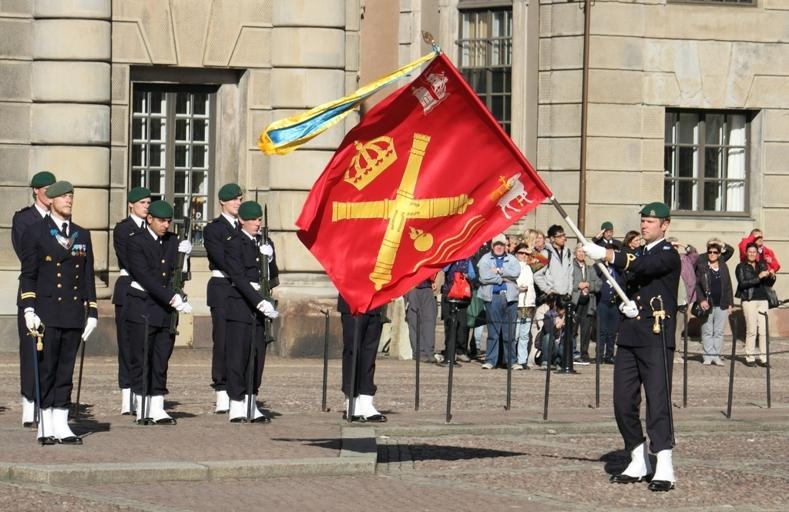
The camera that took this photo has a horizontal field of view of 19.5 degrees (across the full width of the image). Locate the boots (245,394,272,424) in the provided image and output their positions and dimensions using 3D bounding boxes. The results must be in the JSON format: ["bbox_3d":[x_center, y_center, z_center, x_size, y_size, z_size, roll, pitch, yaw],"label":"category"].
[{"bbox_3d":[-2.276,2.402,36.601,0.597,0.488,0.271,0,0,-13],"label":"boots"}]

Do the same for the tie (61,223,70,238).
[{"bbox_3d":[-4.995,-0.489,35.037,0.132,0.197,0.051,-1,-19,-18],"label":"tie"}]

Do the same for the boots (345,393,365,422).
[{"bbox_3d":[-0.637,2.341,36.317,0.292,0.410,0.492,0,-1,-2],"label":"boots"}]

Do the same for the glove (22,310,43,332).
[{"bbox_3d":[-5.450,0.886,34.769,0.267,0.355,0.147,1,-2,-8],"label":"glove"}]

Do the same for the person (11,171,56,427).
[{"bbox_3d":[-6.016,0.454,35.657,1.091,3.419,1.167,1,-3,7],"label":"person"}]

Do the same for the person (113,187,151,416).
[{"bbox_3d":[-4.203,0.593,36.593,0.785,3.199,0.889,2,-1,12],"label":"person"}]

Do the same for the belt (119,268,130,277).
[{"bbox_3d":[-4.243,0.169,36.494,0.119,0.101,0.028,-5,-9,34],"label":"belt"}]

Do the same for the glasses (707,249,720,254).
[{"bbox_3d":[5.936,-0.211,42.836,0.228,0.101,0.239,0,-1,7],"label":"glasses"}]

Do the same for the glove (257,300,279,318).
[{"bbox_3d":[-2.013,0.761,36.449,0.306,0.285,0.354,0,-1,-3],"label":"glove"}]

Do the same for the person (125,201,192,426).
[{"bbox_3d":[-3.805,0.738,36.611,1.227,3.296,1.173,1,-2,-19],"label":"person"}]

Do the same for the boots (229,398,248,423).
[{"bbox_3d":[-2.466,2.386,36.404,0.272,0.342,0.215,1,-2,-7],"label":"boots"}]

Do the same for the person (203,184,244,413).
[{"bbox_3d":[-2.220,0.770,36.803,1.022,3.419,1.034,0,0,7],"label":"person"}]

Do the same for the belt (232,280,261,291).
[{"bbox_3d":[-2.284,0.373,36.587,0.278,0.101,0.193,6,-1,-17],"label":"belt"}]

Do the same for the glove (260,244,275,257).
[{"bbox_3d":[-2.014,-0.196,36.793,0.213,0.201,0.156,-32,-8,16],"label":"glove"}]

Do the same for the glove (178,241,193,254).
[{"bbox_3d":[-3.354,-0.243,36.596,0.189,0.200,0.068,18,-36,-26],"label":"glove"}]

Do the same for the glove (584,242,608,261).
[{"bbox_3d":[2.955,-0.159,33.749,0.325,0.295,0.443,0,-1,6],"label":"glove"}]

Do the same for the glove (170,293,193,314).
[{"bbox_3d":[-3.405,0.691,36.235,0.352,0.258,0.139,37,-37,-15],"label":"glove"}]

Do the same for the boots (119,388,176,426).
[{"bbox_3d":[-3.901,2.320,36.335,0.758,0.567,0.673,2,-2,-19],"label":"boots"}]

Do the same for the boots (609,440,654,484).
[{"bbox_3d":[3.503,3.007,33.990,0.635,0.605,0.266,0,-2,-5],"label":"boots"}]

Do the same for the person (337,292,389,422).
[{"bbox_3d":[-0.488,1.576,36.240,0.795,1.857,0.889,1,-3,-15],"label":"person"}]

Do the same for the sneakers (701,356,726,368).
[{"bbox_3d":[5.899,1.861,42.577,0.160,0.176,0.456,4,-7,-44],"label":"sneakers"}]

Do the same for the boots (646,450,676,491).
[{"bbox_3d":[3.940,3.101,33.826,0.382,0.619,0.469,0,-2,6],"label":"boots"}]

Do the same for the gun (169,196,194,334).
[{"bbox_3d":[-3.321,0.187,36.709,0.592,1.860,0.447,4,-2,-17],"label":"gun"}]

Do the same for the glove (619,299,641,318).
[{"bbox_3d":[3.463,0.700,34.028,0.213,0.125,0.295,51,-19,-24],"label":"glove"}]
